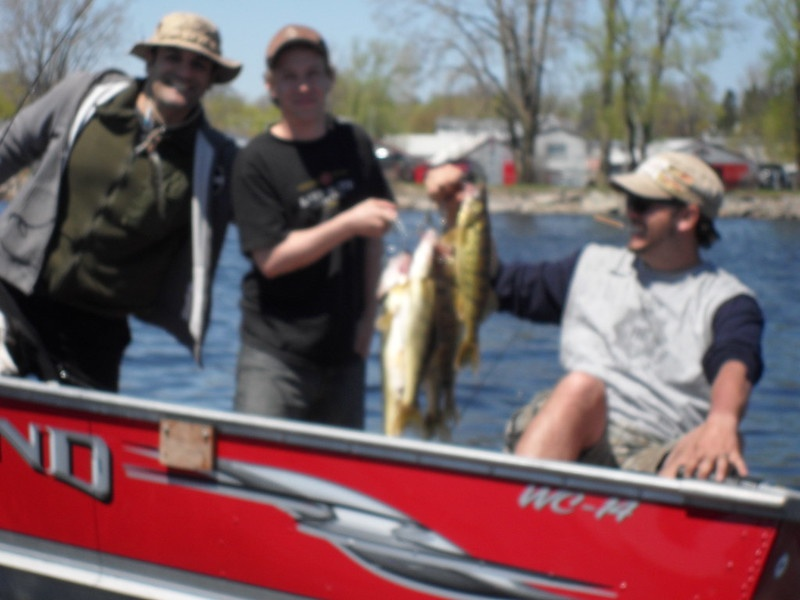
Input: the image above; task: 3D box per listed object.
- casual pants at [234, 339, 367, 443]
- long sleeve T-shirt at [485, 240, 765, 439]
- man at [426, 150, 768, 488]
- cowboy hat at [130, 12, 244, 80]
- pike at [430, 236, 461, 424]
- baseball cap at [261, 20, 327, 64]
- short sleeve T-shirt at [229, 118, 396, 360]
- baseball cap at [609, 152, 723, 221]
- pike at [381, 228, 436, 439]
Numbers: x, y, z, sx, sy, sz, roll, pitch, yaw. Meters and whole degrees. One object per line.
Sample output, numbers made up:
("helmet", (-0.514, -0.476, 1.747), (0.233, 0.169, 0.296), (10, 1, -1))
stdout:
("casual pants", (-0.418, 0.376, 6.767), (0.567, 0.384, 0.319), (4, -1, 4))
("long sleeve T-shirt", (0.931, 0.118, 6.430), (1.076, 0.388, 0.762), (8, 45, 29))
("man", (0.982, 0.143, 6.844), (1.147, 1.454, 1.758), (8, -1, -40))
("cowboy hat", (-0.891, -1.034, 6.860), (0.531, 0.288, 0.118), (4, 9, 26))
("pike", (0.208, 0.140, 6.514), (0.190, 0.657, 0.144), (1, -3, 5))
("baseball cap", (-0.410, -0.999, 6.560), (0.252, 0.160, 0.091), (0, 8, -1))
("short sleeve T-shirt", (-0.336, -0.236, 6.853), (0.719, 0.916, 0.518), (-13, 24, -32))
("baseball cap", (1.032, -0.432, 6.379), (0.334, 0.168, 0.242), (24, 4, -3))
("pike", (0.007, 0.145, 6.542), (0.338, 0.769, 0.238), (6, -4, -3))
